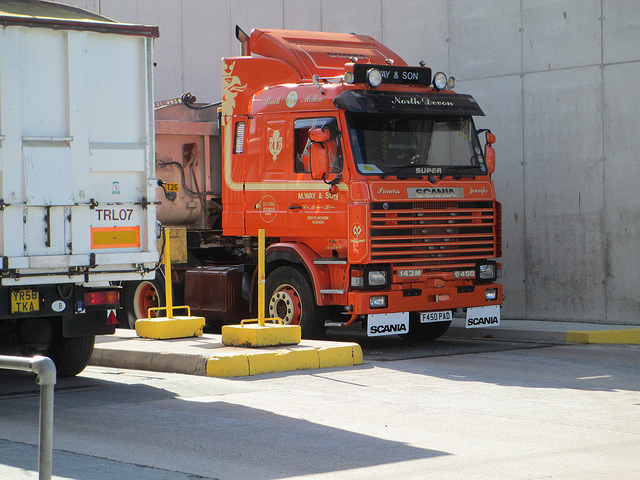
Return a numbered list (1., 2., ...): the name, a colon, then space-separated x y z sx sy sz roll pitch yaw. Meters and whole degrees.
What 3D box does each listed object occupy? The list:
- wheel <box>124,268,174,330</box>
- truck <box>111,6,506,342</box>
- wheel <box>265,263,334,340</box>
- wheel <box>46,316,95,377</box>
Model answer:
1. wheel: -2.708 0.923 15.803 1.126 1.189 0.407 3 5 43
2. truck: -1.477 -0.601 18.477 4.463 4.881 9.463 -3 0 -41
3. wheel: -0.420 1.078 15.582 0.528 1.364 1.295 0 11 -40
4. wheel: -3.060 1.269 12.035 0.796 0.841 0.309 6 7 44
